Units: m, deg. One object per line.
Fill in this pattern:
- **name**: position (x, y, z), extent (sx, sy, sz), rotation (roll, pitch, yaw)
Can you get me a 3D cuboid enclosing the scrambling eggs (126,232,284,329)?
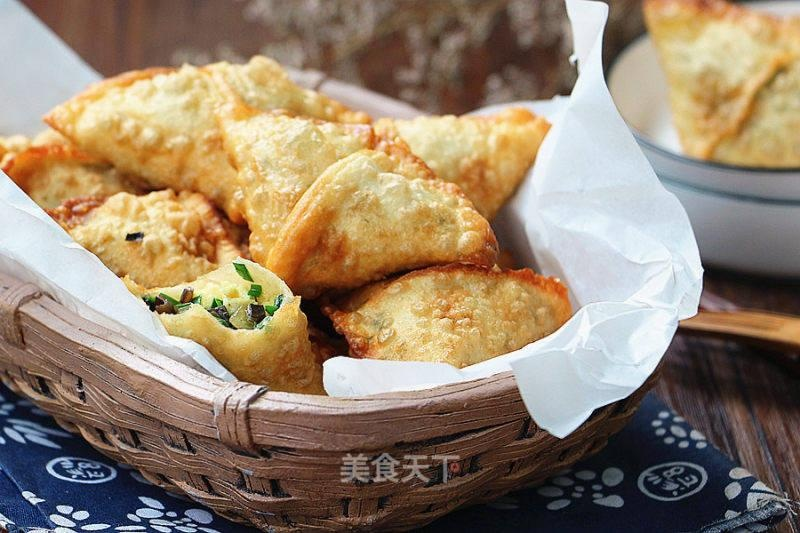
- **scrambling eggs**: position (-0.214, 0.014, 0.866), extent (0.127, 0.050, 0.096), rotation (0, 11, -3)
